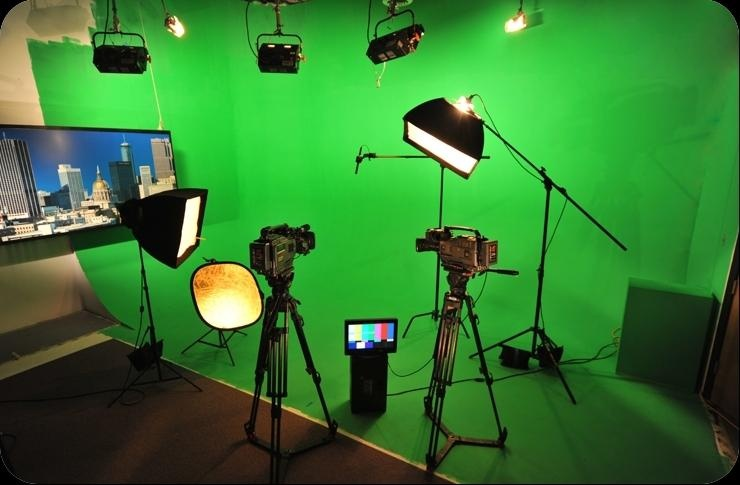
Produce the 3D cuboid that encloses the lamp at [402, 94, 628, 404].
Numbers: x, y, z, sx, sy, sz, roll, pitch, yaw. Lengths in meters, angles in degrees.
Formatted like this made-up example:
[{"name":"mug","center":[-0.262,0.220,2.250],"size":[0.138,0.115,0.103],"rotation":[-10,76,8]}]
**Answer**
[{"name":"lamp","center":[1.465,0.061,6.156],"size":[1.478,3.163,2.249],"rotation":[9,14,34]}]
